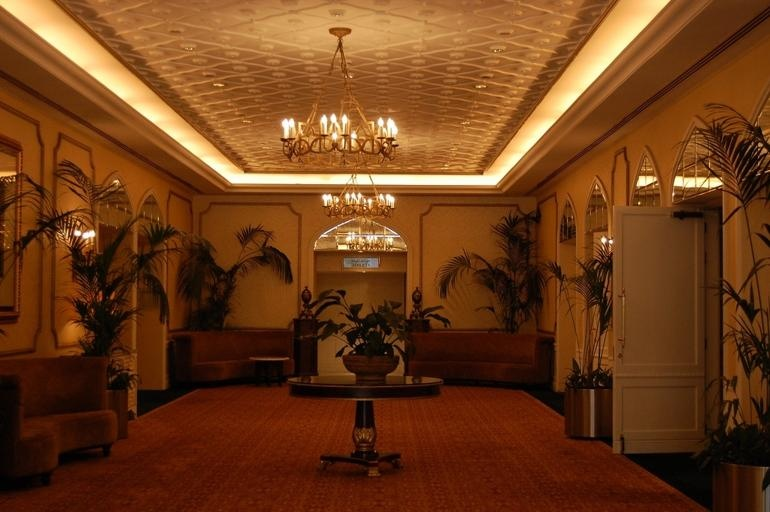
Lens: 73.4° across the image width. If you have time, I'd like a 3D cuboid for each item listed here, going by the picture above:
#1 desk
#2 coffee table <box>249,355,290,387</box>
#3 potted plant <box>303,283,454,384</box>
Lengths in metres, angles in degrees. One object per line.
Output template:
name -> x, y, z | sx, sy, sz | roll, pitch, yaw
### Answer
desk -> -0.238, 1.943, 6.029 | 1.777, 1.069, 1.826 | 0, -8, 13
coffee table -> -2.729, 2.684, 12.223 | 0.890, 0.637, 1.140 | 1, -5, -5
potted plant -> -0.128, 1.028, 5.950 | 1.376, 0.789, 1.435 | -2, -7, -3
